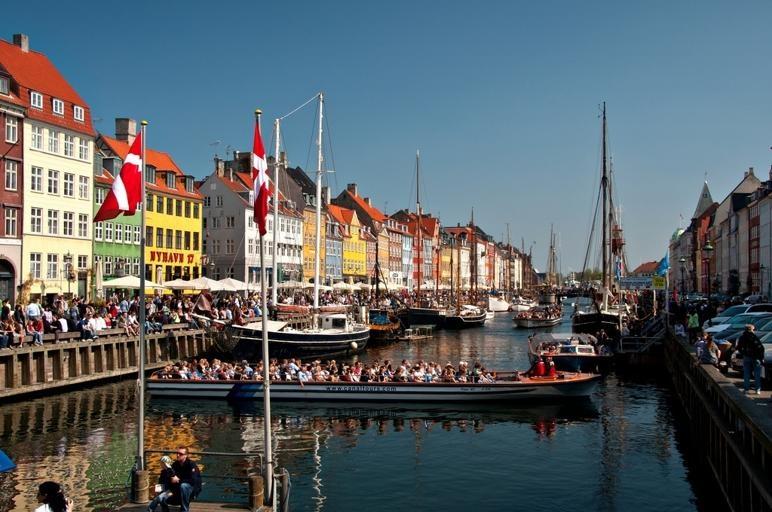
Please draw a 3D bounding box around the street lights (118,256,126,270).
[{"bbox_3d":[-24.869,0.848,102.795,0.916,1.242,0.858,-1,-6,-7],"label":"street lights"}]

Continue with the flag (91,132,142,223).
[{"bbox_3d":[-13.919,-4.117,58.050,1.578,4.482,2.697,14,20,42],"label":"flag"}]
